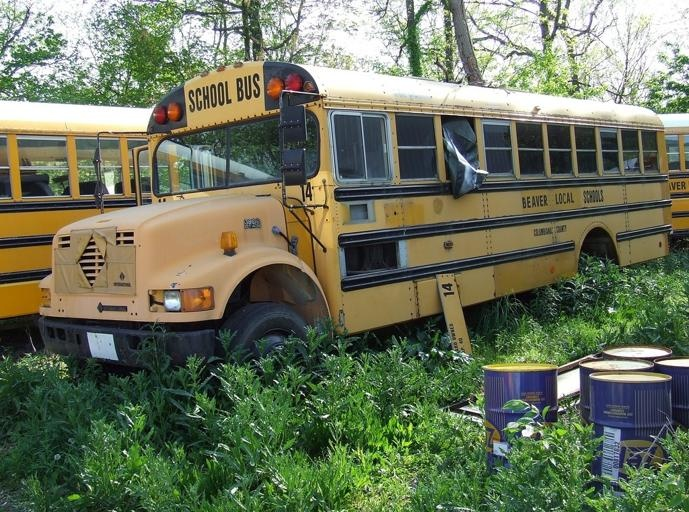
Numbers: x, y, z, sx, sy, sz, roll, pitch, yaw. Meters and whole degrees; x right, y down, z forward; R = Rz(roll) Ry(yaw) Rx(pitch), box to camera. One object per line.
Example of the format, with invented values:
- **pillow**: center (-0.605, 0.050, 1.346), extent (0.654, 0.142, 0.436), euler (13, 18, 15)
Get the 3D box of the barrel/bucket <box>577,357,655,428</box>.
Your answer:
- **barrel/bucket**: center (1.683, 0.803, 3.444), extent (0.369, 0.466, 0.400), euler (1, -2, 0)
